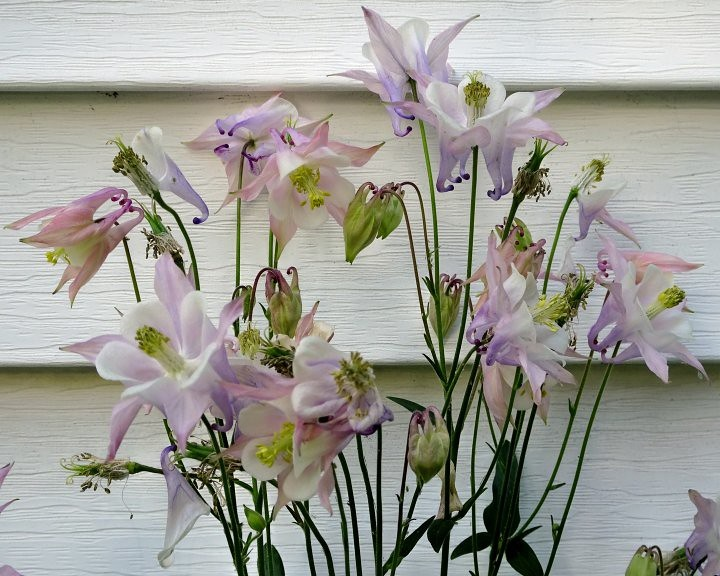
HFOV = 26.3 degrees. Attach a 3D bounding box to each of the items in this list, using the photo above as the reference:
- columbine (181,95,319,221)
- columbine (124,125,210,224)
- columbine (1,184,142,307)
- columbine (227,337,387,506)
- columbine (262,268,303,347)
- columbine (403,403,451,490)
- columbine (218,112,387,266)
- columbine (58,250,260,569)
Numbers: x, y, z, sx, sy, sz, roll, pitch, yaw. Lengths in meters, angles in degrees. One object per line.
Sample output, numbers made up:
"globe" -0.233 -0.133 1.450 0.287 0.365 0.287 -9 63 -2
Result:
"columbine" -0.175 -0.235 2.427 0.146 0.044 0.151 -7 -22 -36
"columbine" -0.303 -0.171 2.408 0.101 0.166 0.046 -51 17 -31
"columbine" -0.423 -0.085 2.390 0.203 0.160 0.127 -36 14 2
"columbine" -0.071 0.198 2.243 0.237 0.259 0.090 3 5 -1
"columbine" -0.112 0.027 2.325 0.055 0.123 0.041 -4 10 -11
"columbine" 0.101 0.229 2.251 0.058 0.107 0.041 2 5 -7
"columbine" -0.064 -0.165 2.358 0.270 0.251 0.153 2 47 -17
"columbine" -0.295 0.141 2.131 0.362 0.404 0.212 1 8 -12
